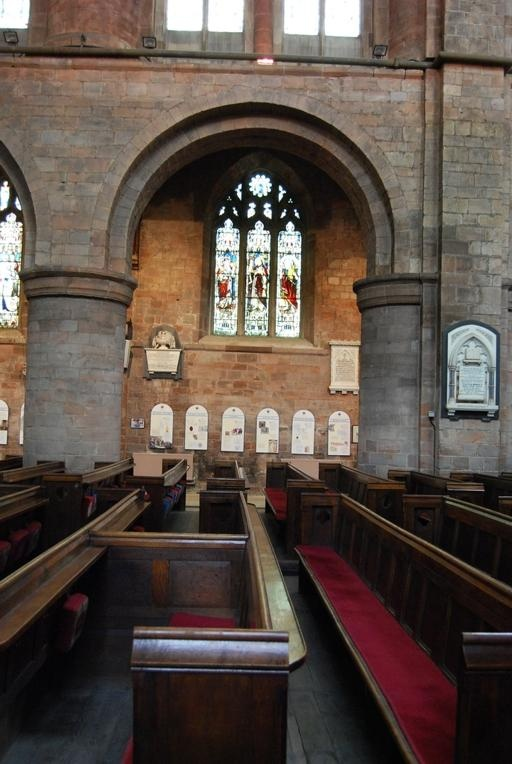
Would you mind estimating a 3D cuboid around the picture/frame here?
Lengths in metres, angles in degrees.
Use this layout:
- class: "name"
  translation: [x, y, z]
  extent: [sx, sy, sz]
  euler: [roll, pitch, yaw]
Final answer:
- class: "picture/frame"
  translation: [2.697, -0.133, 8.077]
  extent: [0.717, 1.224, 0.173]
  euler: [0, -1, -8]
